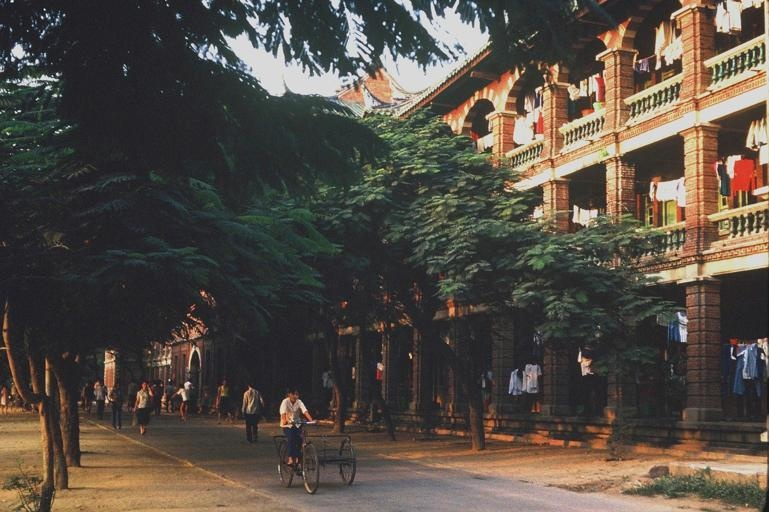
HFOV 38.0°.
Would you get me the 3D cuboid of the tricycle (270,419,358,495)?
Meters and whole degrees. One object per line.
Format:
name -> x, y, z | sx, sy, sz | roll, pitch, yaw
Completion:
tricycle -> -1.366, 4.395, 24.653 | 2.755, 1.438, 1.146 | 12, 7, -45
